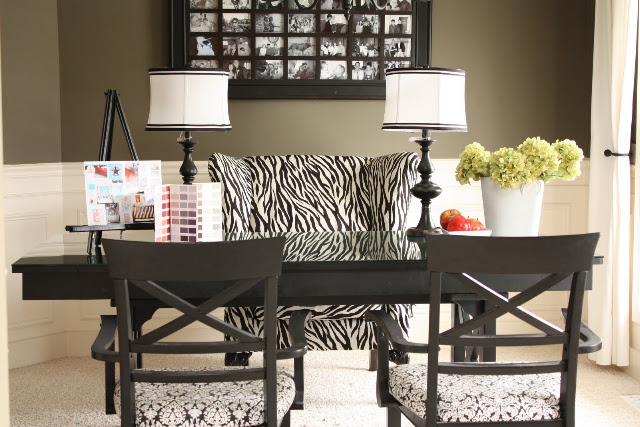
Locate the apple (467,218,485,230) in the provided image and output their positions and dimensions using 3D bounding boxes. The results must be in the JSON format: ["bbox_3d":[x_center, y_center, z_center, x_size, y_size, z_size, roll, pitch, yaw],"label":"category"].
[{"bbox_3d":[0.801,0.033,3.222,0.066,0.088,0.068,-5,13,-21],"label":"apple"}]

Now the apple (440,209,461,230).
[{"bbox_3d":[0.687,0.018,3.343,0.101,0.108,0.102,4,12,38],"label":"apple"}]

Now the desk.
[{"bbox_3d":[-0.131,0.455,3.401,2.720,0.900,0.839,0,24,4],"label":"desk"}]

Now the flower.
[{"bbox_3d":[1.056,-0.268,3.274,0.477,0.230,0.327,-2,6,7],"label":"flower"}]

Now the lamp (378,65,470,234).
[{"bbox_3d":[0.565,-0.343,3.392,0.400,0.898,0.377,-9,12,-42],"label":"lamp"}]

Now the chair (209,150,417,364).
[{"bbox_3d":[-0.045,0.198,4.359,1.511,1.613,1.229,0,-8,-6],"label":"chair"}]

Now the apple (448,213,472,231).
[{"bbox_3d":[0.712,0.035,3.186,0.081,0.102,0.079,0,-7,-31],"label":"apple"}]
